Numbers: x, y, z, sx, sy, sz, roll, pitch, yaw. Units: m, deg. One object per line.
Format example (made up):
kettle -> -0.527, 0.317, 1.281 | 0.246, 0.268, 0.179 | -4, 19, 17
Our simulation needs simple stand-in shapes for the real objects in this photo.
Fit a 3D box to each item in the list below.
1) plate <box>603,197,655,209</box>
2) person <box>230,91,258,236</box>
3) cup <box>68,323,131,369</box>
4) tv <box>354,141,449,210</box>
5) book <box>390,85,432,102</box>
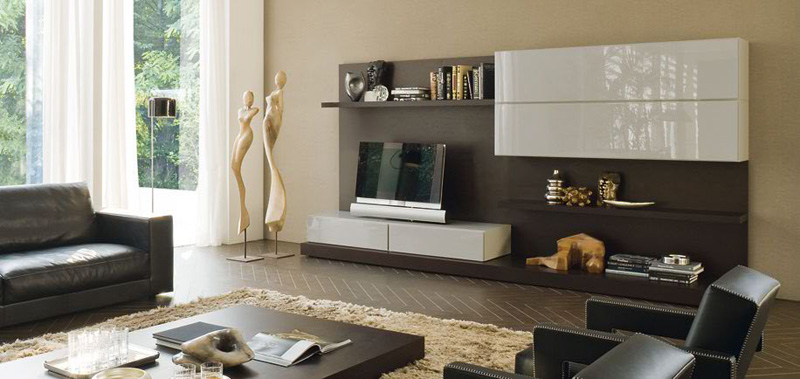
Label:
plate -> 3.385, 0.211, 7.874 | 0.749, 0.117, 0.345 | 3, 6, 20
person -> -2.770, -0.419, 9.393 | 0.473, 2.661, 1.163 | -2, 8, -17
cup -> -2.883, 1.528, 5.072 | 0.496, 0.398, 0.209 | -3, 8, -26
tv -> 0.083, -0.222, 8.841 | 1.484, 0.819, 0.141 | 3, 0, 25
book -> 0.208, -1.590, 8.857 | 0.432, 0.122, 0.423 | -1, 2, -27
